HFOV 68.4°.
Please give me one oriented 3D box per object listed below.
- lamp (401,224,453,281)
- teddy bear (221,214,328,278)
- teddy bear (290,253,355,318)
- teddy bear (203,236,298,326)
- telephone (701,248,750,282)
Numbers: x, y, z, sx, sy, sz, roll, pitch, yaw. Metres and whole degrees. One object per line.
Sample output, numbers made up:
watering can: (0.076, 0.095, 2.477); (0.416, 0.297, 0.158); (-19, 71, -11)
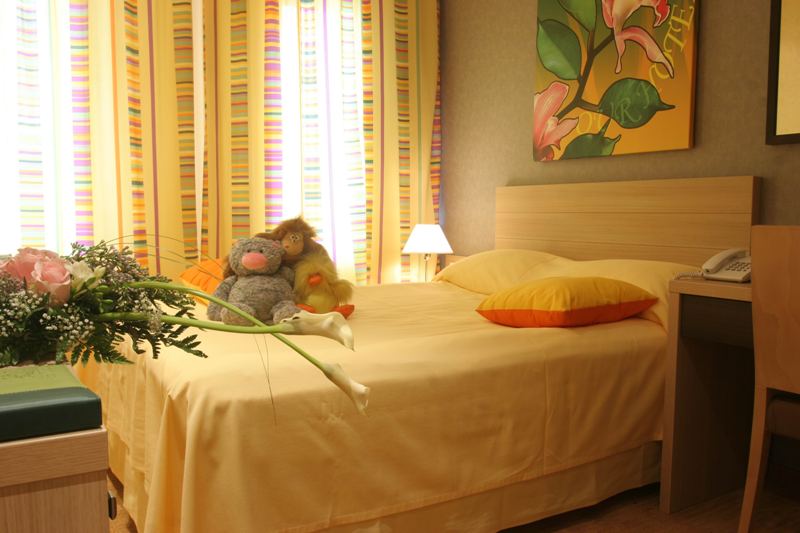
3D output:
lamp: (0.196, -0.026, 4.423); (0.342, 0.629, 0.312); (-1, 17, -4)
teddy bear: (-0.607, -0.161, 2.794); (0.364, 0.165, 0.267); (-24, 21, -6)
teddy bear: (-0.334, 0.108, 2.793); (0.266, 0.278, 0.335); (1, -14, 2)
teddy bear: (-0.643, 0.056, 2.643); (0.427, 0.397, 0.305); (1, 2, 4)
telephone: (1.377, -0.040, 2.459); (0.171, 0.066, 0.154); (-21, 16, -29)
